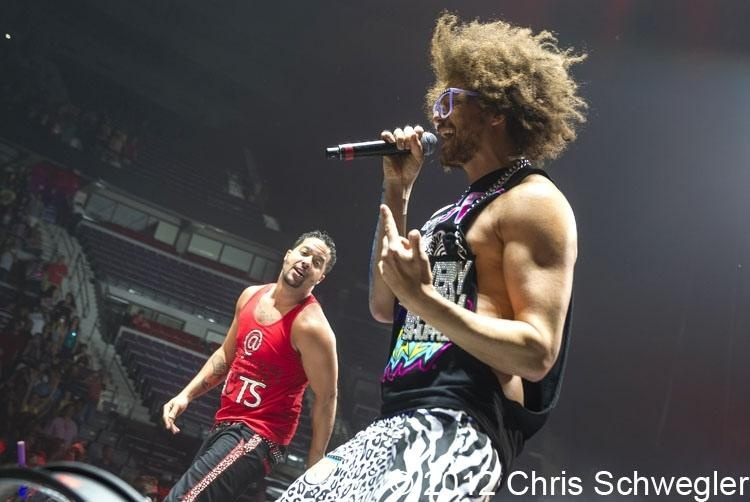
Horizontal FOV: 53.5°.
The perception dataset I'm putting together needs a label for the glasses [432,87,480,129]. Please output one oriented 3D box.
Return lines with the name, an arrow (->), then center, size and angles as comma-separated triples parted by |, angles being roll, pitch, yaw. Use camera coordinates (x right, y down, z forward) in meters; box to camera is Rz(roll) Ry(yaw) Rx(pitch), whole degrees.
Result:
glasses -> 0.398, -0.697, 3.699 | 0.183, 0.074, 0.182 | 4, -4, -18
